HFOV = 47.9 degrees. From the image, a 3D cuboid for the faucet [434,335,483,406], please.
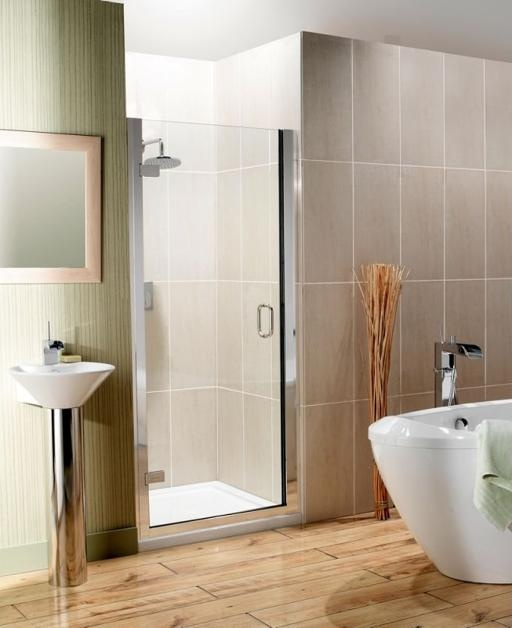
[{"bbox_3d":[1.014,0.335,2.963,0.171,0.391,0.426,-1,5,10],"label":"faucet"}]
